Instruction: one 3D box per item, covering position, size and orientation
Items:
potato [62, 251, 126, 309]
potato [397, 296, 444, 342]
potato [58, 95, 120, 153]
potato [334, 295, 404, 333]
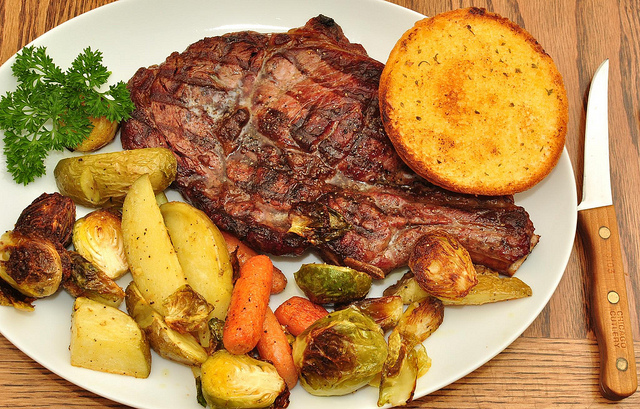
[{"bbox_3d":[-2.195,0.759,6.430,0.353,0.630,0.212,-47,-3,-11],"label":"potato"},{"bbox_3d":[0.982,1.150,6.536,0.490,0.335,0.163,-40,-15,-6],"label":"potato"},{"bbox_3d":[-2.232,-0.787,6.489,0.462,0.503,0.175,-17,5,-6],"label":"potato"},{"bbox_3d":[0.467,1.007,6.270,0.559,0.328,0.174,-2,-9,9],"label":"potato"}]
